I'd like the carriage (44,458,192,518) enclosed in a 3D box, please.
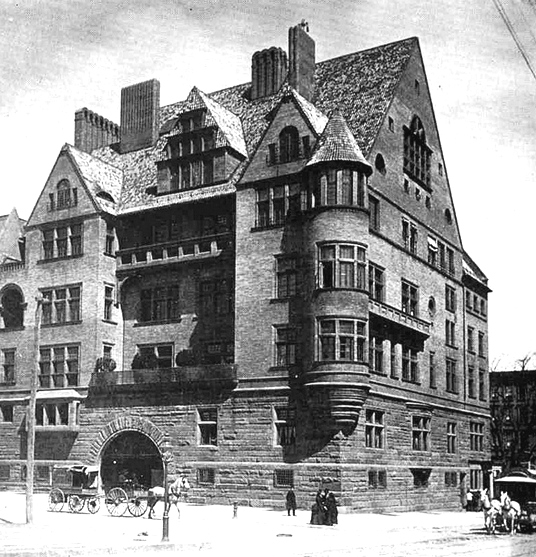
[{"bbox_3d":[-6.924,9.869,56.267,8.973,4.280,3.220,-9,-13,27],"label":"carriage"}]

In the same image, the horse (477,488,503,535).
[{"bbox_3d":[10.283,10.779,52.652,0.519,1.937,2.170,-4,-10,37],"label":"horse"}]
